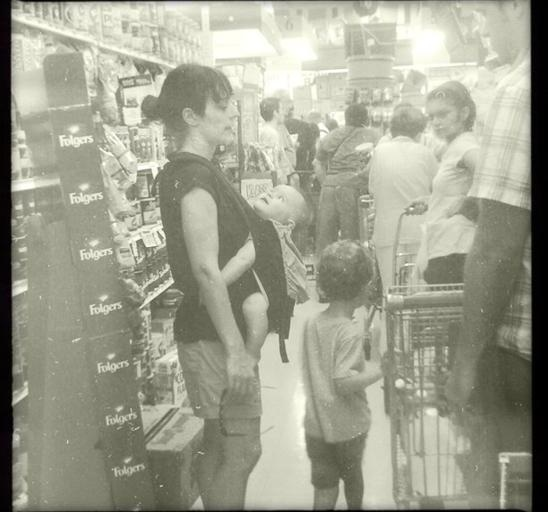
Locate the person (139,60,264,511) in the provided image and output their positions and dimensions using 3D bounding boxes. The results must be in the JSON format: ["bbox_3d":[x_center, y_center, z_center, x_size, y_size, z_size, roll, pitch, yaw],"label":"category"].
[{"bbox_3d":[-0.305,0.162,2.957,0.448,1.995,0.258,-4,10,-11],"label":"person"}]
